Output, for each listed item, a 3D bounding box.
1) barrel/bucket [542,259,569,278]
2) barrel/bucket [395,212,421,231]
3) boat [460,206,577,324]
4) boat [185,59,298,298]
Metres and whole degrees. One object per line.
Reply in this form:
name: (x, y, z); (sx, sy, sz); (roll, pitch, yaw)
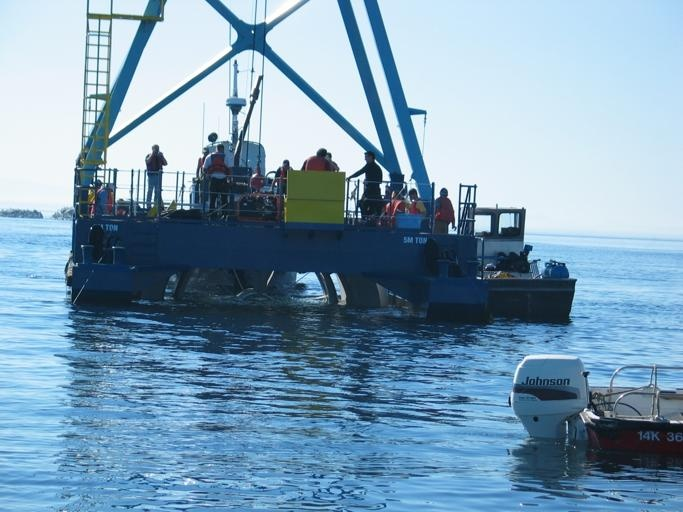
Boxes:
barrel/bucket: (5.938, 0.458, 43.199); (0.532, 0.556, 0.688); (14, -4, 1)
barrel/bucket: (1.695, -0.850, 39.853); (0.639, 0.399, 0.380); (-1, 13, -9)
boat: (4.617, 0.231, 43.410); (3.196, 2.884, 5.327); (0, -2, 10)
boat: (-3.017, -3.064, 44.908); (2.611, 5.463, 8.156); (1, 18, -5)
